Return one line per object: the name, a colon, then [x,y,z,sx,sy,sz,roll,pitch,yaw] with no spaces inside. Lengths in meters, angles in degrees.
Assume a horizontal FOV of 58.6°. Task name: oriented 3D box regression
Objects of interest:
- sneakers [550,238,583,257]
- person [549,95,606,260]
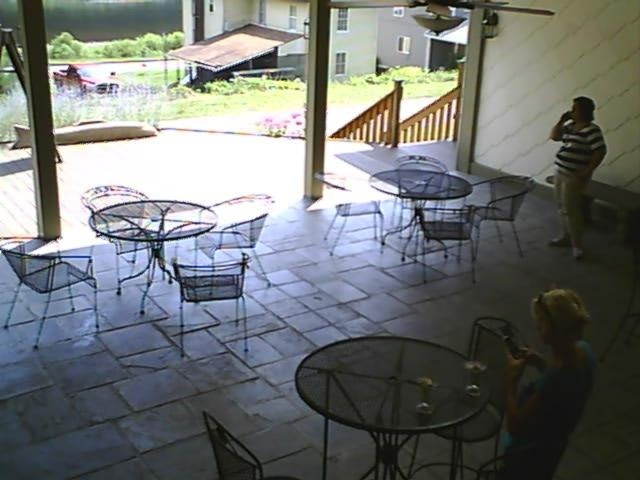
sneakers: [3.142,0.095,7.267,0.352,0.184,0.137,37,-6,14]
person: [3.099,-0.757,6.969,0.572,1.900,0.773,4,27,6]
